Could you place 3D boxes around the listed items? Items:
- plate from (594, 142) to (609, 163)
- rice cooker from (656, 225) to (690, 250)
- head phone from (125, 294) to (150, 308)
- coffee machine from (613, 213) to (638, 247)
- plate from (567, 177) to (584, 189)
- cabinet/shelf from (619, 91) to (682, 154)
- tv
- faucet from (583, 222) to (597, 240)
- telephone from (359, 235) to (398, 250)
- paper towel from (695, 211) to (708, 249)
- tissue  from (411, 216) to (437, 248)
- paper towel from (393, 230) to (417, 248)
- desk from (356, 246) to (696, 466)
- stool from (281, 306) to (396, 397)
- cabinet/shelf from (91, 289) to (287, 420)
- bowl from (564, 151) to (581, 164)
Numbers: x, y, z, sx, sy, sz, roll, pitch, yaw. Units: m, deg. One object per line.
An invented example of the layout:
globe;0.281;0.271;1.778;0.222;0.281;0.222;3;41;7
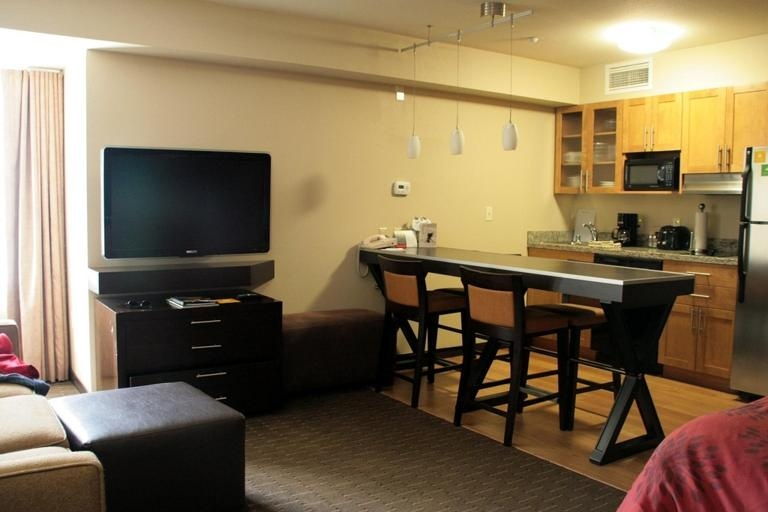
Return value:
plate;2.503;-1.186;6.494;0.215;0.188;0.207;0;1;-13
rice cooker;3.053;-0.178;6.039;0.293;0.268;0.289;3;-1;-35
head phone;-1.917;0.367;4.366;0.141;0.135;0.042;5;8;-29
coffee machine;2.794;-0.301;6.476;0.239;0.363;0.316;5;12;23
plate;2.291;-0.873;6.760;0.148;0.091;0.154;-2;4;-36
cabinet/shelf;2.865;-1.420;6.017;0.383;0.672;0.765;-2;4;-38
tv;-1.737;-0.433;4.773;1.150;0.722;0.129;-2;6;-28
faucet;2.537;-0.300;6.880;0.153;0.202;0.254;1;10;2
telephone;-0.052;-0.134;5.621;0.249;0.082;0.177;-9;11;-12
paper towel;3.291;-0.232;5.857;0.144;0.423;0.139;4;-6;-3
tissue ;0.425;-0.247;5.836;0.297;0.375;0.282;-3;12;-14
paper towel;0.204;-0.169;5.664;0.190;0.119;0.181;-1;9;-6
desk;0.962;0.689;5.044;0.955;1.194;2.945;-3;8;-41
stool;-0.655;0.785;5.317;1.145;0.537;0.817;-1;10;-40
cabinet/shelf;-1.564;0.877;4.661;1.342;0.822;0.785;-1;-6;-33
bowl;2.250;-1.178;6.767;0.157;0.092;0.157;0;5;0
